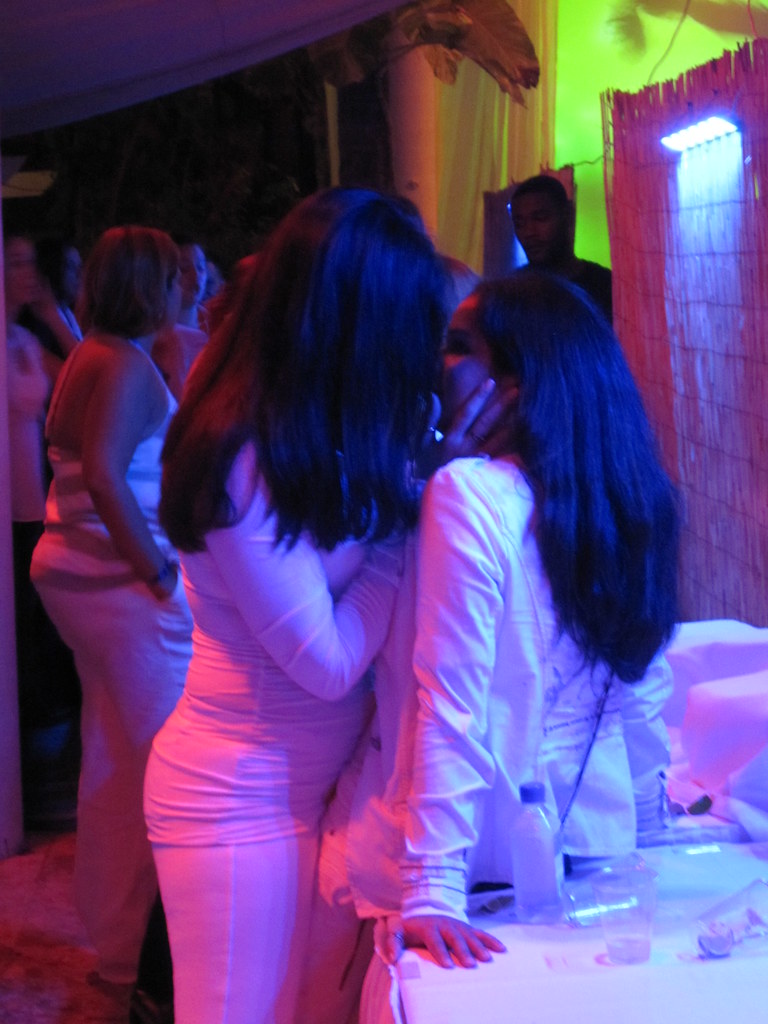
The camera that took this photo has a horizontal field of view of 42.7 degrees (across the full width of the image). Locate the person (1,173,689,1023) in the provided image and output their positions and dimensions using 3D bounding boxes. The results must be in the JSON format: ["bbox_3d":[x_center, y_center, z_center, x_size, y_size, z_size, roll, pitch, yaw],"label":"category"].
[{"bbox_3d":[0.047,0.125,1.041,0.582,0.880,0.361,-1,4,-17],"label":"person"}]
